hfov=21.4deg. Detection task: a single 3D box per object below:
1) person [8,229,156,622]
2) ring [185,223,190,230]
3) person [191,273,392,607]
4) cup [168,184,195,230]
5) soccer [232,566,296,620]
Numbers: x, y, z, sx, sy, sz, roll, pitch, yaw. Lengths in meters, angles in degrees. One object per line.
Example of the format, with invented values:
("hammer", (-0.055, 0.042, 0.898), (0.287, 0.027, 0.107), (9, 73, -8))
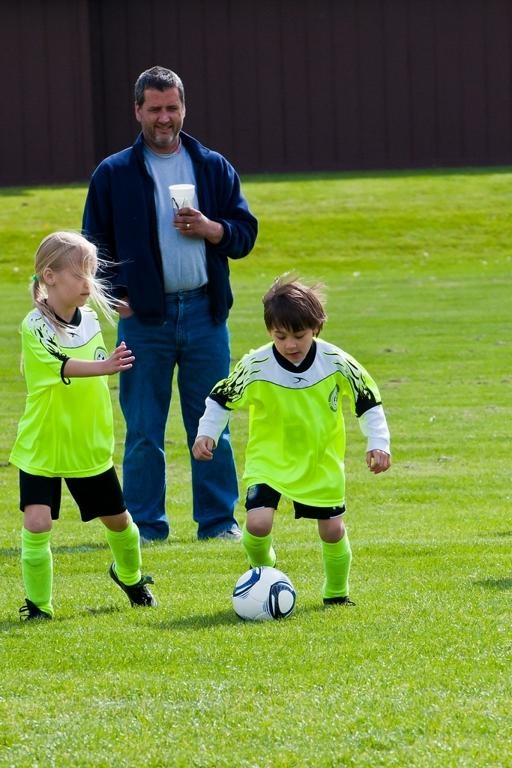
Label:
("person", (-0.578, 0.147, 4.378), (0.430, 1.266, 0.397), (-1, 6, 0))
("ring", (-0.267, -0.609, 5.212), (0.020, 0.022, 0.007), (17, 3, 6))
("person", (0.119, 0.201, 4.429), (0.627, 1.084, 0.330), (0, 6, 6))
("cup", (-0.286, -0.708, 5.233), (0.101, 0.131, 0.108), (-1, 1, 0))
("soccer", (0.024, 0.683, 4.373), (0.201, 0.155, 0.140), (-1, 7, -2))
